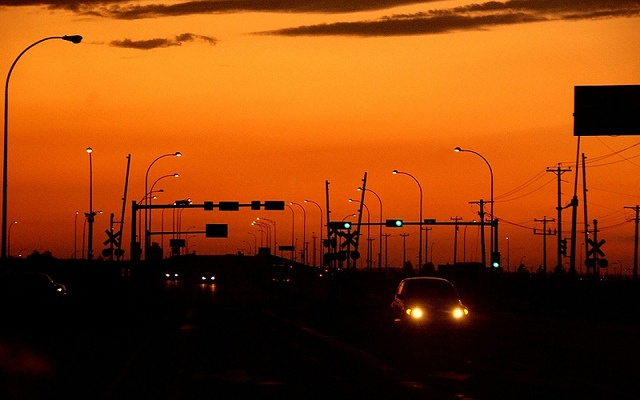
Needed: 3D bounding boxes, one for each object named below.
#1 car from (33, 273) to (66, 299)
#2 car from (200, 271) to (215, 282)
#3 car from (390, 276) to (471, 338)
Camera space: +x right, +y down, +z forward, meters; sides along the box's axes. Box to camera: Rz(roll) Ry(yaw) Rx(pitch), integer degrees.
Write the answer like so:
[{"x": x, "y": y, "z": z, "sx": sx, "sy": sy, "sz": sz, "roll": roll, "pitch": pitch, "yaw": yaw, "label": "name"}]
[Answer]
[{"x": -15.354, "y": 4.757, "z": 60.507, "sx": 1.454, "sy": 1.050, "sz": 2.290, "roll": 3, "pitch": -8, "yaw": -29, "label": "car"}, {"x": -12.546, "y": 8.582, "z": 120.522, "sx": 1.446, "sy": 1.037, "sz": 3.069, "roll": 3, "pitch": -6, "yaw": -9, "label": "car"}, {"x": 4.991, "y": 4.875, "z": 48.683, "sx": 3.094, "sy": 1.895, "sz": 4.616, "roll": 1, "pitch": -9, "yaw": -4, "label": "car"}]
